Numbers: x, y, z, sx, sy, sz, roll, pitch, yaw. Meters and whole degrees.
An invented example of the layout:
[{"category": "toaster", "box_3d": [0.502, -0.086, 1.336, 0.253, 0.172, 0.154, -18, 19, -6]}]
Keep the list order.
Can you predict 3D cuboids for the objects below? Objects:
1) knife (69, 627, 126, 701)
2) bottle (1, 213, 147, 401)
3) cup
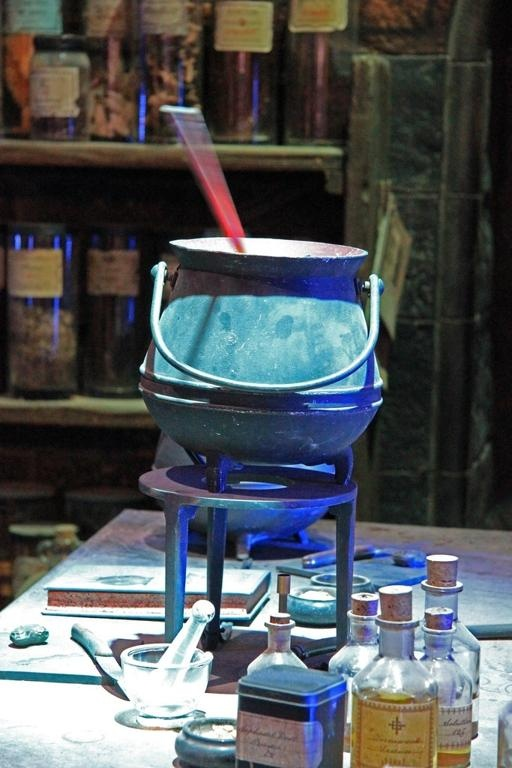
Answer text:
[{"category": "knife", "box_3d": [-0.152, 0.257, 1.146, 0.025, 0.019, 0.180, 3, 11, -17]}, {"category": "bottle", "box_3d": [-0.347, -0.141, 2.289, 0.249, 0.335, 0.097, -1, 2, -15]}, {"category": "cup", "box_3d": [-0.080, 0.260, 1.026, 0.082, 0.063, 0.077, 0, 1, 0]}]
